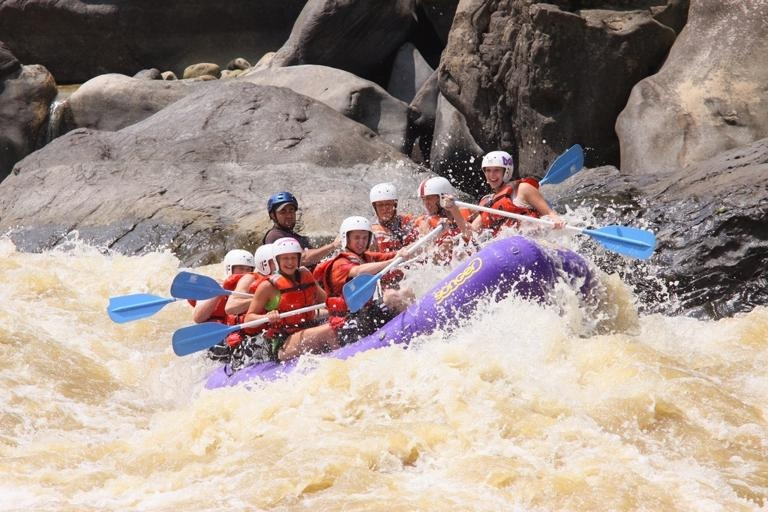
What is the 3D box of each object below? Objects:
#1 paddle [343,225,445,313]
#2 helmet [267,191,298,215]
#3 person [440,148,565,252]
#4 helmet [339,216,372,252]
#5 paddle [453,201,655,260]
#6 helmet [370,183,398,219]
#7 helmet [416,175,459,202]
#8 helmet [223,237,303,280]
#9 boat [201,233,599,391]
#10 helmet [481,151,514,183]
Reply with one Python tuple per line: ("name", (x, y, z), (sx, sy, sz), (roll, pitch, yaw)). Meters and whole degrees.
("paddle", (0.125, 0.217, 16.822), (1.508, 0.315, 0.082), (-35, 4, -15))
("helmet", (-1.603, -0.898, 18.137), (0.326, 0.410, 0.327), (-7, 13, -41))
("person", (2.022, -0.931, 18.615), (1.553, 0.819, 2.153), (-34, 55, 26))
("helmet", (-0.439, -0.424, 16.949), (0.413, 0.404, 0.515), (-15, 17, -37))
("paddle", (2.560, -0.367, 17.229), (3.479, 0.441, 0.233), (12, -8, 17))
("helmet", (0.020, -0.837, 17.712), (0.443, 0.504, 0.534), (-4, -1, 1))
("helmet", (0.831, -1.074, 17.544), (0.462, 0.334, 0.343), (-24, 10, -5))
("helmet", (-1.650, -0.032, 16.795), (0.703, 0.377, 0.513), (-29, -17, 24))
("boat", (0.153, 0.454, 16.372), (4.484, 0.859, 2.153), (-28, 0, 13))
("helmet", (1.829, -1.433, 17.796), (0.439, 0.438, 0.562), (5, 25, 41))
